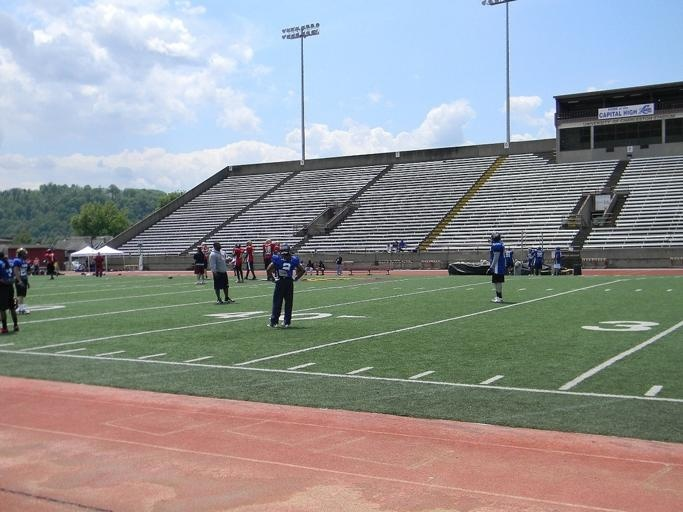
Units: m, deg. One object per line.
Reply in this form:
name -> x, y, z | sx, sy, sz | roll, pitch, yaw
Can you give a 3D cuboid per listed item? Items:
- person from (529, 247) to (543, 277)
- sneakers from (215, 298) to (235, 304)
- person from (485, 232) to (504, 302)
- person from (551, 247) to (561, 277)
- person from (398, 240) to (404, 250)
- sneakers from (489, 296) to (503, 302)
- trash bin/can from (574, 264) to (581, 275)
person -> 8.786, 0.281, 32.059 | 0.505, 1.093, 0.851 | -1, 4, 13
sneakers -> -3.006, 1.199, 18.536 | 0.466, 0.166, 0.162 | -2, 3, -12
person -> 3.813, 0.296, 17.276 | 0.328, 1.665, 1.010 | -1, 4, 11
person -> 9.714, 0.271, 32.059 | 0.379, 1.126, 1.171 | 0, 4, 16
person -> 3.491, -0.554, 40.141 | 0.333, 0.523, 0.893 | -1, 4, 5
sneakers -> 3.805, 1.067, 17.425 | 0.147, 0.167, 0.386 | 2, -1, -32
trash bin/can -> 10.073, 0.598, 30.292 | 0.335, 0.438, 1.356 | 0, 4, 17
